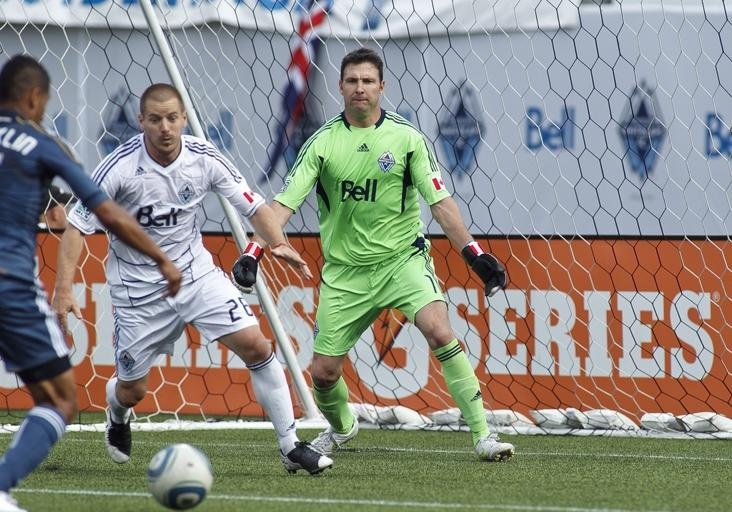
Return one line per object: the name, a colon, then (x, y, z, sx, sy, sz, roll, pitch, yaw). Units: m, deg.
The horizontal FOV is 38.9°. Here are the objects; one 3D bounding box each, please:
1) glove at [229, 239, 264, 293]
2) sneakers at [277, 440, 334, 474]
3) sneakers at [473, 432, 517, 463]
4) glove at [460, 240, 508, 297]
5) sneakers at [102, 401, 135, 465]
glove: (-0.784, 0.058, 6.970, 0.112, 0.202, 0.335, -4, 48, 34)
sneakers: (-0.386, 1.339, 6.941, 0.400, 0.264, 0.161, -6, 5, 25)
sneakers: (0.899, 1.364, 7.404, 0.308, 0.190, 0.136, -17, -3, 41)
glove: (0.836, 0.074, 7.369, 0.219, 0.438, 0.167, -40, -14, 18)
sneakers: (-1.718, 1.243, 7.296, 0.127, 0.477, 0.165, -4, -3, -18)
